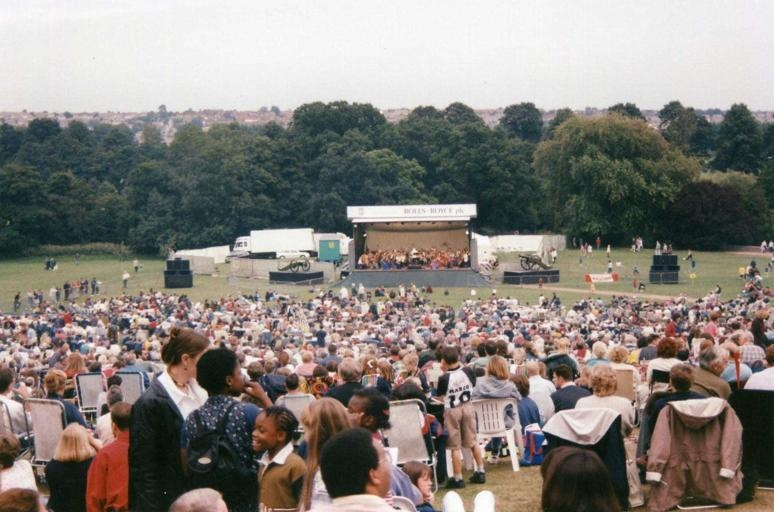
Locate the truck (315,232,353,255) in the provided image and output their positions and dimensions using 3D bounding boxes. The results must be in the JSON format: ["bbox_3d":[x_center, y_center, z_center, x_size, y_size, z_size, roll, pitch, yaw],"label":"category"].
[{"bbox_3d":[-5.394,-1.501,137.937,3.283,1.959,3.017,0,-1,2],"label":"truck"}]

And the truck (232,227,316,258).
[{"bbox_3d":[-11.707,-1.123,143.884,9.760,3.314,3.449,-1,-1,-5],"label":"truck"}]
